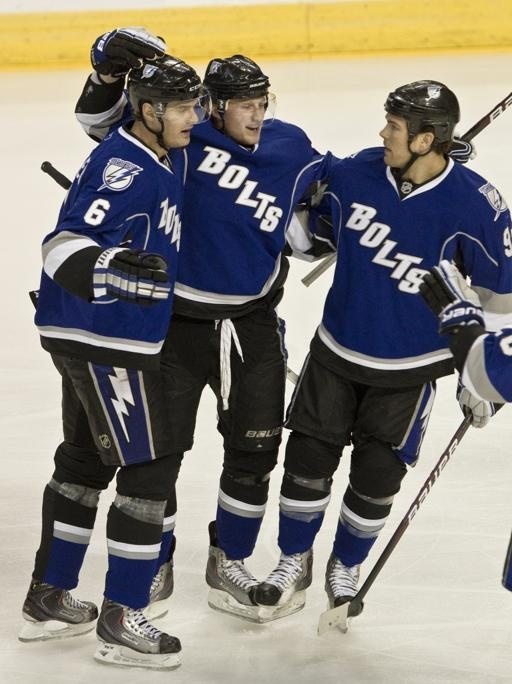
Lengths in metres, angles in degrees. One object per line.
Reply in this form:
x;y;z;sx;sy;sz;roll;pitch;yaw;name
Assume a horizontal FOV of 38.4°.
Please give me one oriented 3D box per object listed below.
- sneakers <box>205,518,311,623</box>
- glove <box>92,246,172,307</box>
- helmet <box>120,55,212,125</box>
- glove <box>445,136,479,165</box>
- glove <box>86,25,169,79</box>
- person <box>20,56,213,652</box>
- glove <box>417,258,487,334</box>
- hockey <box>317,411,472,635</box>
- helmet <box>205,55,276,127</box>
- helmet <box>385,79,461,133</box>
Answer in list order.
0.027;0.705;2.179;0.148;0.230;0.405;4;-6;-31;sneakers
-0.219;-0.115;1.318;0.109;0.053;0.133;11;12;18;glove
-0.192;-0.568;1.640;0.187;0.136;0.144;3;22;-11;helmet
0.542;-0.532;1.989;0.072;0.065;0.176;-4;-5;8;glove
-0.291;-0.642;1.669;0.173;0.059;0.122;-6;-2;13;glove
-0.330;0.119;1.711;0.382;1.518;0.632;2;25;-16;person
0.390;-0.101;1.486;0.085;0.100;0.170;-13;50;-27;glove
0.398;0.555;2.157;0.746;0.065;0.184;-43;36;-9;hockey
-0.049;-0.635;1.857;0.181;0.164;0.153;16;35;29;helmet
0.389;-0.577;1.827;0.190;0.135;0.127;-5;38;-12;helmet
